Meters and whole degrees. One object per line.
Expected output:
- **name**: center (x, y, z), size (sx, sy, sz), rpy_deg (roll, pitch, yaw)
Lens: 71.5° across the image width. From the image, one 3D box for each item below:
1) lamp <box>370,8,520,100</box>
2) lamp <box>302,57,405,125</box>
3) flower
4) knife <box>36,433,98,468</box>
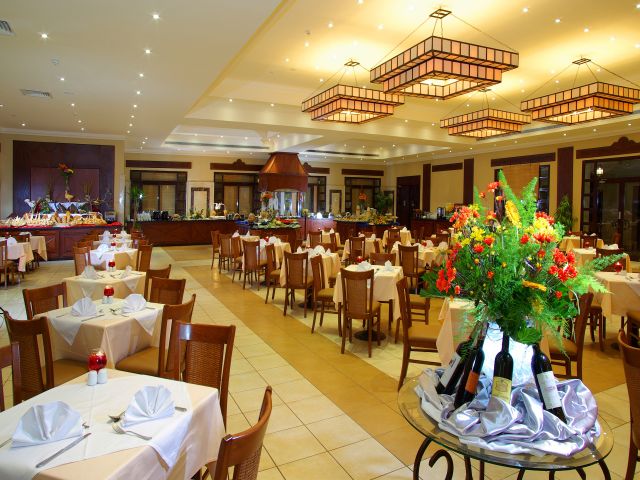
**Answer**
- **lamp**: center (2.135, -2.827, 7.453), size (1.608, 1.180, 1.661), rpy_deg (9, -18, -25)
- **lamp**: center (0.720, -2.949, 9.856), size (1.420, 1.152, 1.441), rpy_deg (4, -7, -31)
- **flower**: center (1.179, 0.112, 2.909), size (0.915, 1.167, 0.998), rpy_deg (-1, 11, 16)
- **knife**: center (-1.351, 1.105, 2.383), size (0.049, 0.018, 0.350), rpy_deg (23, 18, 16)
